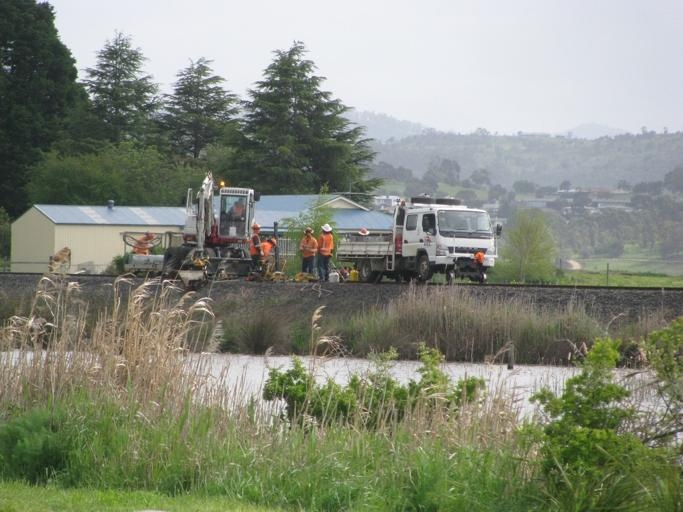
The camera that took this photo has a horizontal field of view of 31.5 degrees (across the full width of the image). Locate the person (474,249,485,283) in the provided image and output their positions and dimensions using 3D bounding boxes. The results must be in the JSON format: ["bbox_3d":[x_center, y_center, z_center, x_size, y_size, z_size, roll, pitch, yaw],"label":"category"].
[{"bbox_3d":[4.690,0.347,41.307,0.296,1.106,0.681,0,-5,21],"label":"person"}]

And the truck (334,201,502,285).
[{"bbox_3d":[3.011,-0.609,43.527,2.364,2.623,5.429,1,-2,-31],"label":"truck"}]

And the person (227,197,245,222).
[{"bbox_3d":[-3.719,-1.667,43.590,0.482,0.811,0.252,5,-5,-3],"label":"person"}]

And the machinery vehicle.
[{"bbox_3d":[-5.010,-0.887,45.508,2.266,4.805,7.412,3,-3,-15],"label":"machinery vehicle"}]

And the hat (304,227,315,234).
[{"bbox_3d":[-1.213,-0.946,44.999,0.278,0.121,0.300,-1,2,34],"label":"hat"}]

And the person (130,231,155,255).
[{"bbox_3d":[-7.546,-0.449,46.289,0.830,1.025,2.600,3,-5,-9],"label":"person"}]

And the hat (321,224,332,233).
[{"bbox_3d":[-0.574,-0.900,41.811,0.315,0.142,0.367,-9,36,-34],"label":"hat"}]

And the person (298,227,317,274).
[{"bbox_3d":[-1.142,-0.134,42.737,0.560,1.590,1.820,2,-5,-3],"label":"person"}]

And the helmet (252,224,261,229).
[{"bbox_3d":[-3.184,-1.098,45.118,0.347,0.195,0.543,-1,1,-7],"label":"helmet"}]
